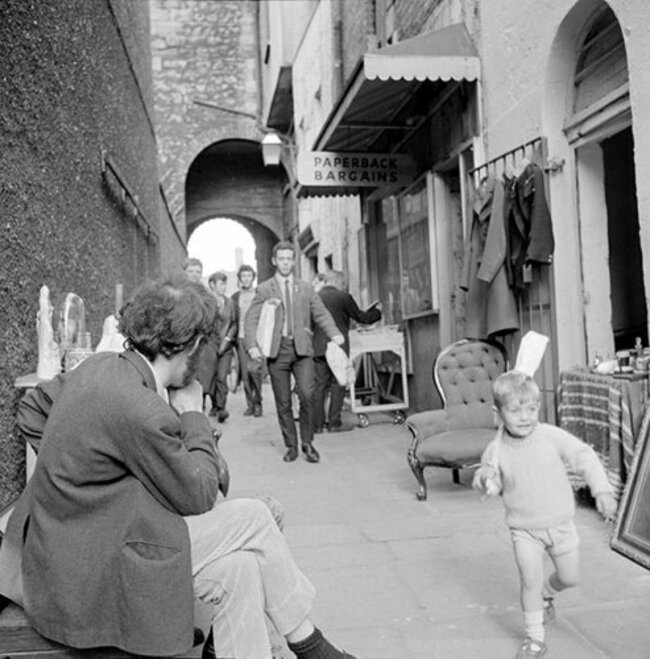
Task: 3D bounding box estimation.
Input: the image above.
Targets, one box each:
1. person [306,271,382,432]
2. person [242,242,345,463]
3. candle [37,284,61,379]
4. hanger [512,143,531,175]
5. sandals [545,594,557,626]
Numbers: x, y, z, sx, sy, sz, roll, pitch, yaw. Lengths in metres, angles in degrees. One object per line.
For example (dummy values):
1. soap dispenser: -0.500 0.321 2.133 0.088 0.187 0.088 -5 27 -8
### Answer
1. person: 0.162 0.177 7.892 0.655 1.930 0.598 0 0 -29
2. person: -0.260 0.219 6.355 0.694 1.990 0.468 -2 2 7
3. candle: -1.308 0.016 3.381 0.067 0.460 0.127 1 7 -5
4. hanger: 1.475 -1.271 5.380 0.017 0.291 0.232 12 -23 -7
5. sandals: 0.856 1.066 2.744 0.036 0.138 0.048 -8 -16 37
